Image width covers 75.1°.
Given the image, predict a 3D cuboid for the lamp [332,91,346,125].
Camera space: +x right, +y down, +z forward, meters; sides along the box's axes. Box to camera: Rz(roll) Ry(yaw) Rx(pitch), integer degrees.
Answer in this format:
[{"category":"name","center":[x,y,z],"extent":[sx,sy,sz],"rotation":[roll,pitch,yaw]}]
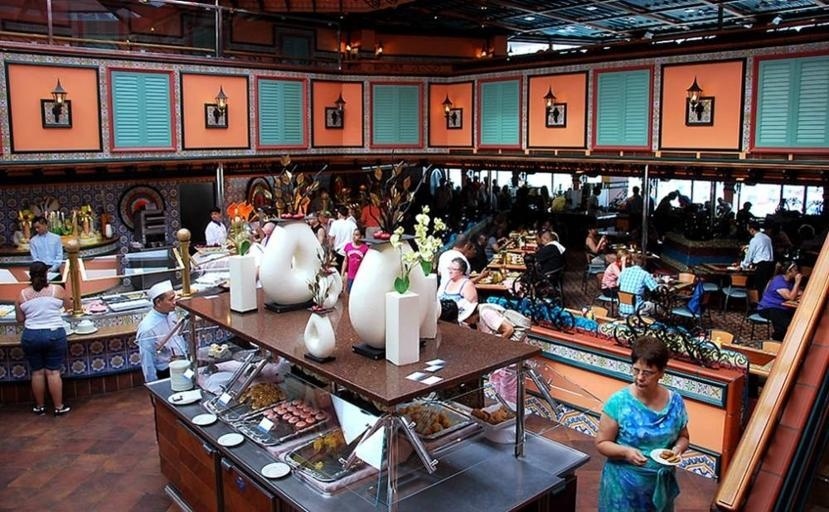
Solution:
[{"category":"lamp","center":[-2.042,-4.023,14.725],"extent":[0.296,0.888,0.138],"rotation":[4,11,-13]}]

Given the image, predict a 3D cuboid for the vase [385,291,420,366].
[{"category":"vase","center":[-0.105,0.641,4.726],"extent":[0.350,0.625,0.175],"rotation":[6,11,-2]}]

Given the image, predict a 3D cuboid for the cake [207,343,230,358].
[{"category":"cake","center":[-2.313,1.110,6.312],"extent":[0.192,0.112,0.183],"rotation":[3,12,5]}]

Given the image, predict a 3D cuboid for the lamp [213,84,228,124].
[{"category":"lamp","center":[-4.661,-3.656,12.988],"extent":[0.209,0.872,0.309],"rotation":[10,11,15]}]

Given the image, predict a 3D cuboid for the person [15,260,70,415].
[{"category":"person","center":[-5.702,1.276,8.297],"extent":[0.888,2.368,0.447],"rotation":[9,11,13]}]

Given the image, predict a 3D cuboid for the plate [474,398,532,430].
[{"category":"plate","center":[0.807,1.585,5.351],"extent":[0.361,0.107,0.330],"rotation":[-4,18,7]}]

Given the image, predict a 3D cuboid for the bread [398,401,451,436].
[{"category":"bread","center":[0.130,1.541,5.139],"extent":[0.365,0.090,0.371],"rotation":[24,25,39]}]

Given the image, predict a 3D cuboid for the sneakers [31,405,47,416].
[{"category":"sneakers","center":[-5.881,2.407,8.395],"extent":[0.097,0.095,0.234],"rotation":[-4,11,-36]}]

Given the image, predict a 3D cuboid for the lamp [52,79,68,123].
[{"category":"lamp","center":[-7.336,-3.210,11.097],"extent":[0.253,0.874,0.136],"rotation":[-4,15,-44]}]

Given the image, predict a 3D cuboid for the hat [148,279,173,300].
[{"category":"hat","center":[-3.839,0.504,8.081],"extent":[0.370,0.220,0.317],"rotation":[-11,-7,25]}]

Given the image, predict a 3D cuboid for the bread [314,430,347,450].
[{"category":"bread","center":[-0.797,1.771,5.087],"extent":[0.241,0.060,0.234],"rotation":[-13,14,17]}]

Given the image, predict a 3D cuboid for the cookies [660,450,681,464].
[{"category":"cookies","center":[2.149,1.685,4.499],"extent":[0.115,0.036,0.113],"rotation":[-12,20,-41]}]

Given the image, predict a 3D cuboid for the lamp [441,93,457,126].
[{"category":"lamp","center":[0.949,-4.040,15.001],"extent":[0.499,0.880,0.135],"rotation":[16,15,43]}]

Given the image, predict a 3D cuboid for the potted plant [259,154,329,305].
[{"category":"potted plant","center":[-1.393,-0.225,5.964],"extent":[0.658,1.601,0.889],"rotation":[6,10,41]}]

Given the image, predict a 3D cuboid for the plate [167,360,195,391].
[{"category":"plate","center":[-2.799,1.397,6.593],"extent":[0.343,0.340,0.328],"rotation":[-9,19,-40]}]

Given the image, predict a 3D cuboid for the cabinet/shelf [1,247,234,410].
[{"category":"cabinet/shelf","center":[-4.648,1.185,8.285],"extent":[2.517,0.682,2.442],"rotation":[-6,11,-34]}]

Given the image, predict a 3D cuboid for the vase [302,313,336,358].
[{"category":"vase","center":[-0.859,0.729,4.842],"extent":[0.344,0.413,0.213],"rotation":[12,17,40]}]

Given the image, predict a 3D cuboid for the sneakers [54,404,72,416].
[{"category":"sneakers","center":[-5.479,2.392,8.412],"extent":[0.123,0.106,0.285],"rotation":[6,12,23]}]

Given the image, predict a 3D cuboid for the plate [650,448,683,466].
[{"category":"plate","center":[2.103,1.685,4.503],"extent":[0.168,0.037,0.161],"rotation":[-10,20,-30]}]

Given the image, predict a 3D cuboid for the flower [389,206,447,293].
[{"category":"flower","center":[-0.037,-0.007,4.847],"extent":[0.383,0.549,0.261],"rotation":[6,-23,-43]}]

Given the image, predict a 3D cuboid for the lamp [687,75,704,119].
[{"category":"lamp","center":[5.829,-3.274,11.138],"extent":[0.379,0.819,0.131],"rotation":[14,13,34]}]
